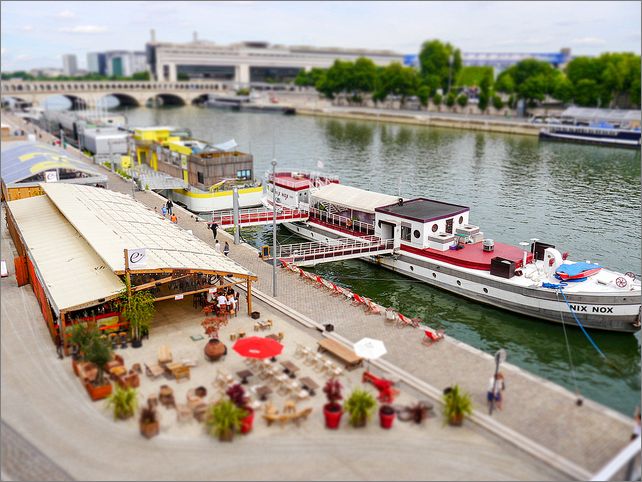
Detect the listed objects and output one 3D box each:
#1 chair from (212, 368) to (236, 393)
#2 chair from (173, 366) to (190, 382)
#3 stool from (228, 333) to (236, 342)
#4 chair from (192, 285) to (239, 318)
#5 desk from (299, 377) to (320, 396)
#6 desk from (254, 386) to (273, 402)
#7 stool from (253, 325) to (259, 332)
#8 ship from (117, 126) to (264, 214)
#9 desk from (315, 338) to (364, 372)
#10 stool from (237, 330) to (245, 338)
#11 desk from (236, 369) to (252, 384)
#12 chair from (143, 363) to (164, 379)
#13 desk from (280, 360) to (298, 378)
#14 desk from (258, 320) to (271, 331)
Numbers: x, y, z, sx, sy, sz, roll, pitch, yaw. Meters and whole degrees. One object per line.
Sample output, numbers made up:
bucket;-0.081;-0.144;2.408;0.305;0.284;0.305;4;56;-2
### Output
chair;-4.749;6.691;26.680;0.982;0.558;1.760;-7;20;-17
chair;-6.973;6.490;27.187;0.822;0.515;0.541;-7;15;-31
stool;-4.941;5.349;30.662;0.350;0.330;0.352;12;13;39
chair;-6.414;3.742;33.710;2.516;1.654;1.677;-2;14;-29
desk;-0.567;6.965;26.711;0.702;0.594;1.055;-13;22;-31
desk;-2.762;7.131;26.035;0.797;0.568;0.634;-3;19;-6
stool;-3.723;4.988;31.700;0.345;0.324;0.336;3;19;0
ship;-16.904;-9.713;71.142;9.031;7.484;22.992;-10;21;-35
desk;1.005;5.978;29.282;2.517;0.770;1.012;17;26;42
stool;-4.484;5.153;30.911;0.386;0.418;0.952;-4;19;-8
desk;-3.774;6.614;27.031;0.634;0.356;0.613;-2;22;-16
chair;-8.326;6.423;27.375;0.601;0.337;0.793;-14;34;-34
desk;-1.600;6.422;27.798;0.683;0.573;1.130;-10;21;-24
desk;-3.311;4.899;32.018;0.741;0.429;0.557;-6;20;-16
